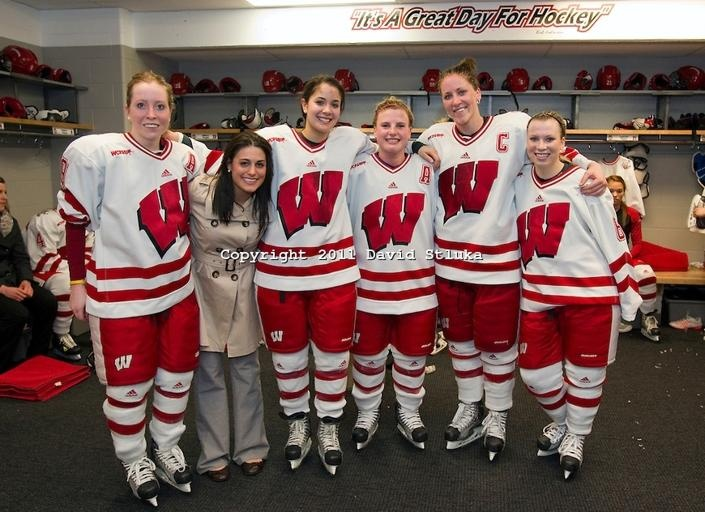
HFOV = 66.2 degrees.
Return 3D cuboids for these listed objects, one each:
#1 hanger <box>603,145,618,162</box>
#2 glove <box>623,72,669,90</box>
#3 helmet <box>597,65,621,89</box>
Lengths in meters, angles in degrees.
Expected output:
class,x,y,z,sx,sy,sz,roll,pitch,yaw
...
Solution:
class,x,y,z,sx,sy,sz,roll,pitch,yaw
hanger,3.093,-1.213,6.507,0.152,0.198,0.051,1,3,12
glove,3.364,-1.966,6.172,0.279,0.143,0.384,3,2,15
helmet,2.917,-2.018,6.200,0.248,0.291,0.316,5,9,18
